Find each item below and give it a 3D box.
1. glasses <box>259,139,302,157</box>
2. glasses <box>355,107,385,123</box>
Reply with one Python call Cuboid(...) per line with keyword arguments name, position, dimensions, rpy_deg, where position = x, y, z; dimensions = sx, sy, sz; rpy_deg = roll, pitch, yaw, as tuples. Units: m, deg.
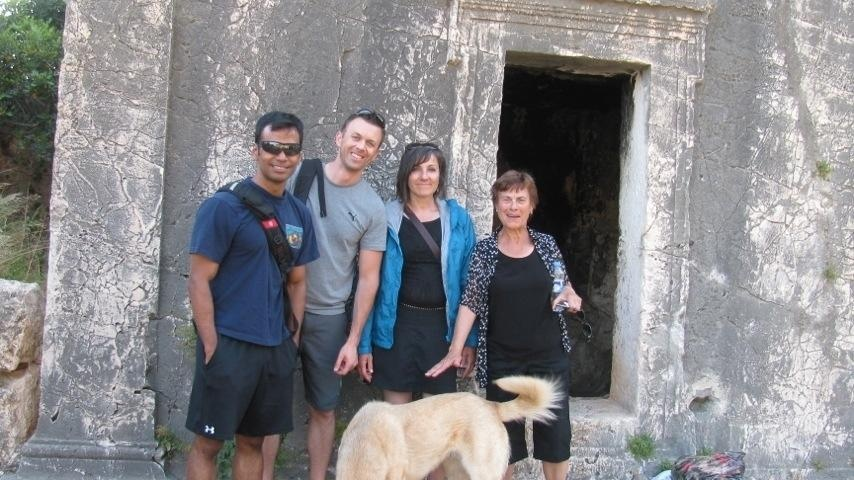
Cuboid(name="glasses", position=(-1.282, -0.793, 6.441), dimensions=(0.350, 0.125, 0.064), rpy_deg=(7, -9, -11))
Cuboid(name="glasses", position=(-0.543, -1.158, 6.895), dimensions=(0.257, 0.142, 0.143), rpy_deg=(8, -9, -15))
